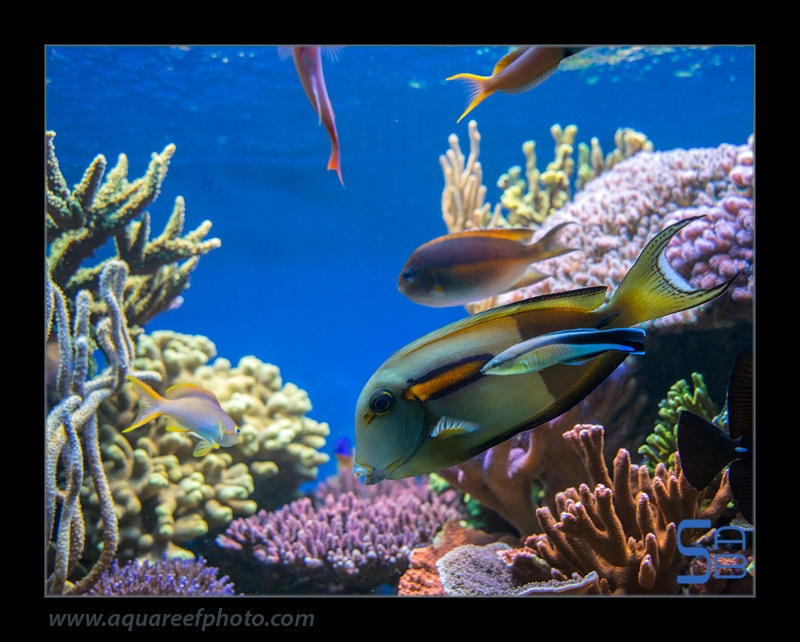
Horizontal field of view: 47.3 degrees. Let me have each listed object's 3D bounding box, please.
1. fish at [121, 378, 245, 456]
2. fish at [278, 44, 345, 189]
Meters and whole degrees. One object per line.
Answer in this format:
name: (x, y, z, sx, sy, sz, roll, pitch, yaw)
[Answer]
fish: (-1.174, 0.483, 5.033, 0.512, 0.481, 0.508, -10, 9, -12)
fish: (-0.408, -1.034, 4.572, 0.289, 0.690, 0.732, -8, 9, -2)
